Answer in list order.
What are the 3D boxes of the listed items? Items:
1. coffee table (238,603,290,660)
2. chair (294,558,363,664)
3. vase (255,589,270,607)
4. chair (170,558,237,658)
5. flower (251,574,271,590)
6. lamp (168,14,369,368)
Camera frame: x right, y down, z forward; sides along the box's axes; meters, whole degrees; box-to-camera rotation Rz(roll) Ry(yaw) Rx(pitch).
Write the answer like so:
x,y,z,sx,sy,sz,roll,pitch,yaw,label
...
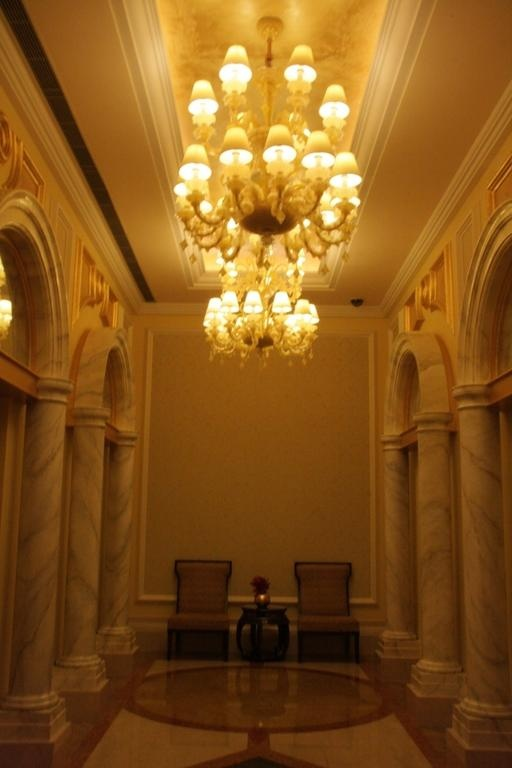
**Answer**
x,y,z,sx,sy,sz,roll,pitch,yaw,label
0.068,3.021,6.777,0.577,0.638,0.637,6,-15,-11,coffee table
0.865,2.857,7.010,0.779,1.131,0.977,0,-12,4,chair
0.075,2.542,6.608,0.141,0.160,0.142,8,-14,-39,vase
-0.712,2.832,7.008,0.784,1.129,0.904,2,-12,-3,chair
0.042,2.411,6.685,0.172,0.181,0.237,2,-13,-2,flower
0.087,-1.378,4.033,1.053,2.667,1.116,8,-16,-25,lamp
